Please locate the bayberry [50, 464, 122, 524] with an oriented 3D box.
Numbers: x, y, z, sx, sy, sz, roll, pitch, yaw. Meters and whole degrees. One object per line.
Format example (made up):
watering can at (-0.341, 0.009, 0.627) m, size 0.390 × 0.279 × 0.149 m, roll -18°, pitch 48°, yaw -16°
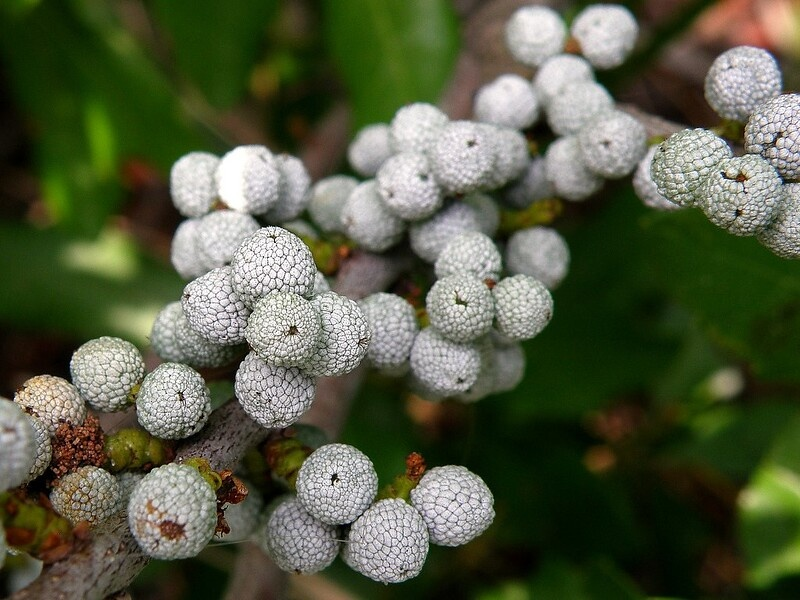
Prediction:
bayberry at (-0.457, 0.290, 1.282) m, size 0.064 × 0.081 × 0.072 m, roll -12°, pitch 94°, yaw 34°
